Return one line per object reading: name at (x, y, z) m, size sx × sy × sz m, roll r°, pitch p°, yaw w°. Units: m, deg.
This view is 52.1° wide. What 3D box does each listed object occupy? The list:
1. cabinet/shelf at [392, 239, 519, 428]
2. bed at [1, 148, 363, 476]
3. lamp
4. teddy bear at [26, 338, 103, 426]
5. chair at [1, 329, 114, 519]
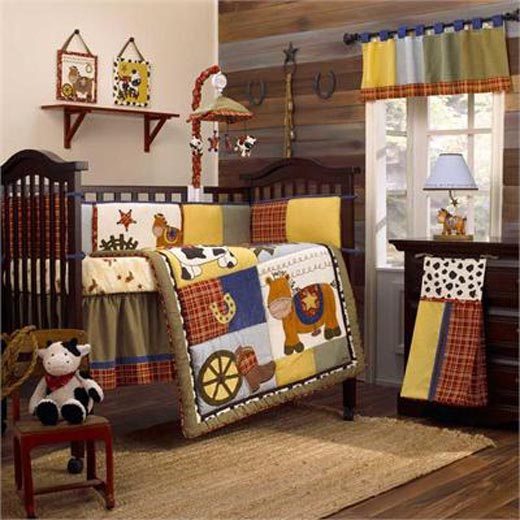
cabinet/shelf at (0.950, 0.330, 2.974) m, size 0.846 × 1.055 × 0.773 m, roll 0°, pitch -1°, yaw 40°
bed at (-0.453, -0.006, 2.646) m, size 1.531 × 1.189 × 1.483 m, roll -3°, pitch 2°, yaw -41°
lamp at (1.008, -0.342, 2.786) m, size 0.253 × 0.486 × 0.417 m, roll 0°, pitch -1°, yaw 21°
teddy bear at (-0.599, 0.367, 1.592) m, size 0.200 × 0.233 × 0.182 m, roll -2°, pitch -2°, yaw 32°
chair at (-0.628, 0.491, 1.657) m, size 0.332 × 0.554 × 0.437 m, roll 1°, pitch -1°, yaw -24°
